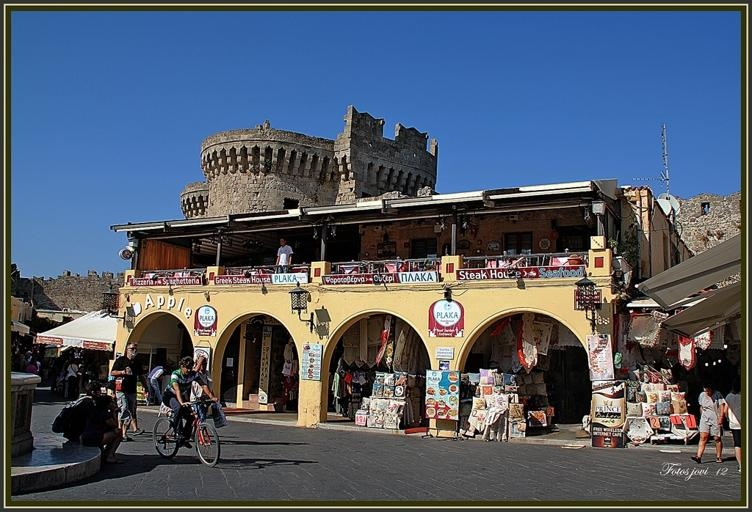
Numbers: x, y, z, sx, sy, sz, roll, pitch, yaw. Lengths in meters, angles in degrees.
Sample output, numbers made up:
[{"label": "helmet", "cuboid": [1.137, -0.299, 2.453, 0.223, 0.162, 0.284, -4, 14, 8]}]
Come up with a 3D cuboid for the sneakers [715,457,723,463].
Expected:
[{"label": "sneakers", "cuboid": [7.355, 4.450, 15.730, 0.077, 0.088, 0.225, 10, -13, -31]}]

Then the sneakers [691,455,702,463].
[{"label": "sneakers", "cuboid": [6.926, 4.430, 15.759, 0.263, 0.101, 0.093, 29, -33, -21]}]

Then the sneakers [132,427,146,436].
[{"label": "sneakers", "cuboid": [-6.017, 4.464, 18.298, 0.165, 0.189, 0.487, 6, -12, -42]}]

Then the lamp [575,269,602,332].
[{"label": "lamp", "cuboid": [5.716, 1.278, 19.814, 0.691, 1.687, 0.551, -4, -12, 26]}]

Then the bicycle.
[{"label": "bicycle", "cuboid": [-3.653, 3.743, 14.862, 1.869, 1.127, 0.923, -9, -16, 37]}]

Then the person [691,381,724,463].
[{"label": "person", "cuboid": [7.322, 3.720, 16.107, 0.650, 1.690, 1.577, -3, -12, 23]}]

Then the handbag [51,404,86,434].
[{"label": "handbag", "cuboid": [-6.106, 3.283, 14.527, 0.859, 0.746, 0.248, -3, -12, 22]}]

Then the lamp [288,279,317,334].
[{"label": "lamp", "cuboid": [-2.524, 1.654, 23.714, 1.055, 1.725, 0.661, -2, -12, 17]}]

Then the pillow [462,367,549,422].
[{"label": "pillow", "cuboid": [4.054, 4.096, 21.694, 2.122, 0.727, 1.558, 4, -18, 0]}]

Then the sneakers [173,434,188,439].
[{"label": "sneakers", "cuboid": [-3.925, 3.626, 14.474, 0.194, 0.057, 0.118, -6, -1, 33]}]

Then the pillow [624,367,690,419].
[{"label": "pillow", "cuboid": [7.572, 3.779, 19.668, 1.761, 0.522, 1.404, 2, 30, -2]}]
